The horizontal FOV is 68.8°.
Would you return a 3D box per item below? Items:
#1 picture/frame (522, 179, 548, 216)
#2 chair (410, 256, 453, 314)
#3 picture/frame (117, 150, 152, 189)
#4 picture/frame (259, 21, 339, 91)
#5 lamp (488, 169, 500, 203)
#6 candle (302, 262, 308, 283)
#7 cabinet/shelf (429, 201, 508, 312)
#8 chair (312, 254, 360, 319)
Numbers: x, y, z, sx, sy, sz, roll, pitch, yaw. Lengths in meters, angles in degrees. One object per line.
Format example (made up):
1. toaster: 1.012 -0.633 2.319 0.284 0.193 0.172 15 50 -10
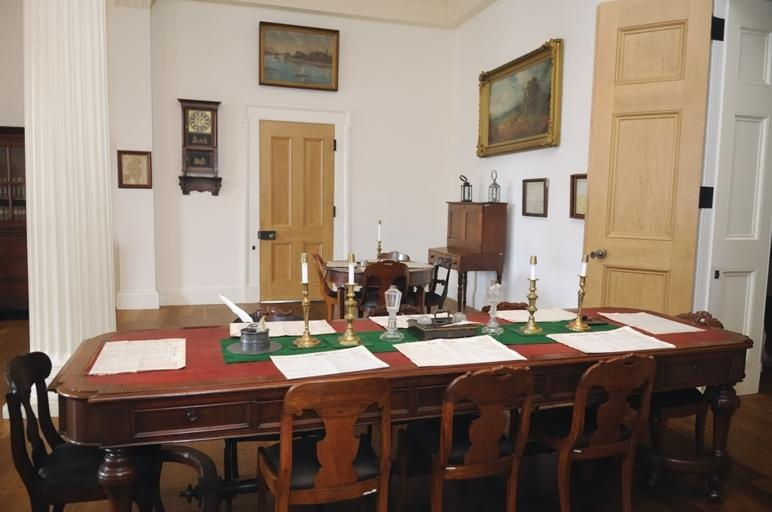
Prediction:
1. picture/frame: 1.767 -0.690 6.696 0.473 0.463 0.035 -5 7 -38
2. chair: 0.425 0.390 6.288 0.574 0.744 0.557 4 6 -2
3. picture/frame: -3.272 -1.142 7.305 0.514 0.555 0.047 -1 5 -23
4. picture/frame: -1.246 -2.790 7.791 1.069 0.755 0.067 0 4 -19
5. lamp: 1.427 -0.930 7.426 0.155 0.411 0.403 0 5 10
6. candle: -0.490 0.104 3.404 0.021 0.124 0.093 -2 5 -16
7. cabinet/shelf: 1.083 -0.057 7.750 0.676 1.360 1.460 0 6 -11
8. chair: -0.513 0.406 6.298 0.497 0.755 0.450 6 10 33
